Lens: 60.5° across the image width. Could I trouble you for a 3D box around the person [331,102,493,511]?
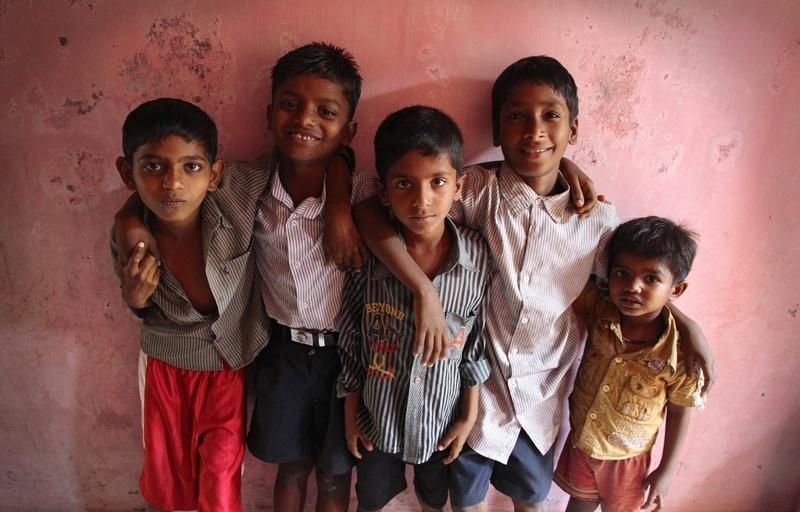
[{"bbox_3d":[0.054,0.227,2.414,0.536,1.482,0.225,2,3,-5],"label":"person"}]
